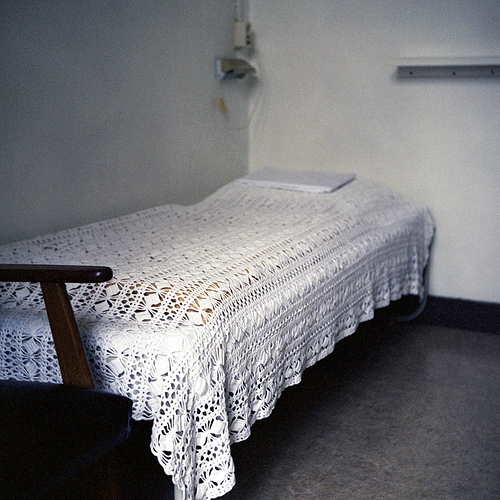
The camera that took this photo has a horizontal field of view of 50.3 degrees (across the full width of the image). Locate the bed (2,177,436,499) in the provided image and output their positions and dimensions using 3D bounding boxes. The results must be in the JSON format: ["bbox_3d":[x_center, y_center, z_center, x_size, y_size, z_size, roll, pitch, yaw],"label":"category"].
[{"bbox_3d":[-0.044,0.101,1.673,0.826,0.455,1.460,9,15,32],"label":"bed"}]
